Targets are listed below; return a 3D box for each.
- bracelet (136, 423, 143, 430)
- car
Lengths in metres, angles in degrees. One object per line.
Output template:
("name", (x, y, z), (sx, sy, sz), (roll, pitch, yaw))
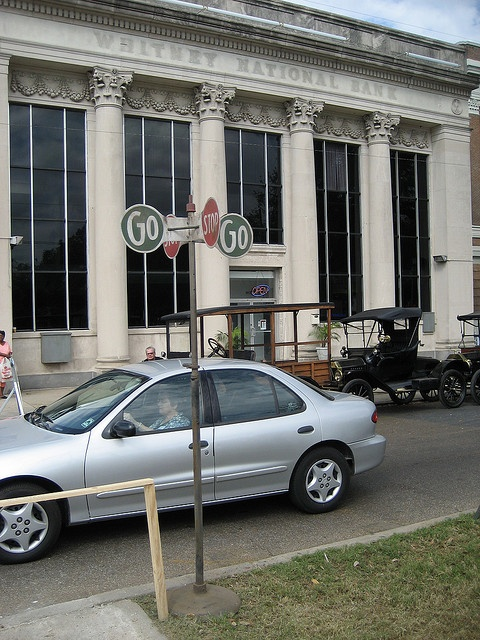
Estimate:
("bracelet", (-0.842, 0.901, 5.418), (0.053, 0.060, 0.044), (-3, 3, -15))
("car", (-0.453, 1.147, 6.095), (3.502, 1.336, 1.431), (2, -4, -28))
